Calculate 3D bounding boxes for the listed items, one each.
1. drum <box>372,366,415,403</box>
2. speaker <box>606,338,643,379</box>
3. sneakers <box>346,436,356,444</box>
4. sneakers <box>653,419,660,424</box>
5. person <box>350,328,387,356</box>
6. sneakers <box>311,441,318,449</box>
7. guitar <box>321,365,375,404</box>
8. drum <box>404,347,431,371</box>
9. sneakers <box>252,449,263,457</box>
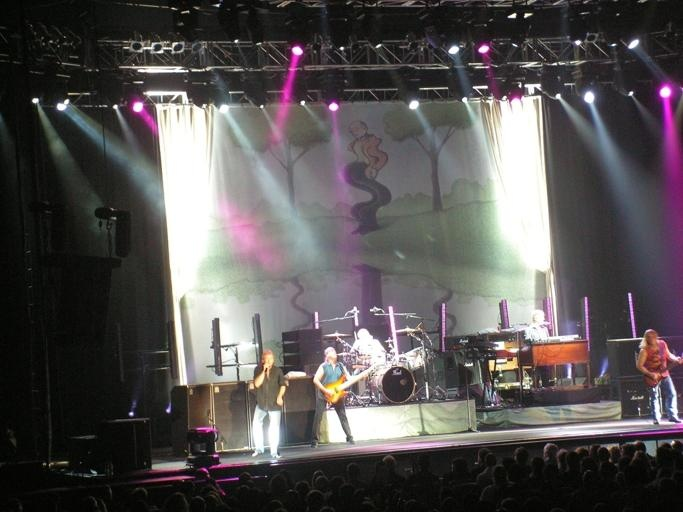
[{"bbox_3d":[0.922,2.329,13.857,0.601,0.616,0.371,-7,-9,-13],"label":"drum"},{"bbox_3d":[5.376,1.957,14.484,0.760,0.753,0.247,-1,-7,-24],"label":"speaker"},{"bbox_3d":[0.157,3.190,13.127,0.118,0.148,0.223,-3,-20,33],"label":"sneakers"},{"bbox_3d":[5.395,2.859,13.100,0.078,0.137,0.075,3,4,13],"label":"sneakers"},{"bbox_3d":[0.469,1.682,14.872,0.504,0.505,0.733,-1,-4,-25],"label":"person"},{"bbox_3d":[-0.468,3.267,13.136,0.107,0.117,0.107,4,-8,-10],"label":"sneakers"},{"bbox_3d":[0.090,2.295,13.645,1.006,0.359,0.140,-32,-30,-12],"label":"guitar"},{"bbox_3d":[1.465,2.067,15.125,0.411,0.474,0.911,-4,-4,4],"label":"drum"},{"bbox_3d":[-1.418,3.284,12.653,0.202,0.133,0.107,3,-4,10],"label":"sneakers"}]
